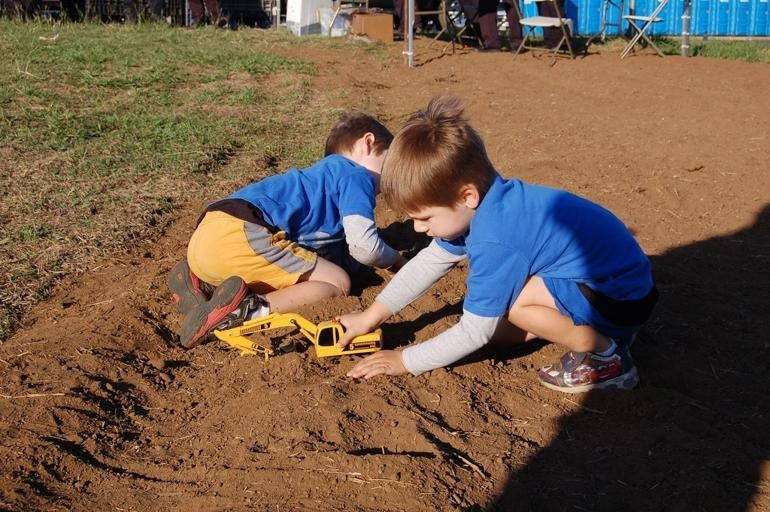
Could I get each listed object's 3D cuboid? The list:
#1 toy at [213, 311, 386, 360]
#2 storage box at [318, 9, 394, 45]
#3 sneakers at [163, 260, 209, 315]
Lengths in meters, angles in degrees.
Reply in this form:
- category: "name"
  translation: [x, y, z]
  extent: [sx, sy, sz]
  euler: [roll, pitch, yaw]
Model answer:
- category: "toy"
  translation: [-0.565, 0.520, 4.543]
  extent: [0.968, 0.279, 0.189]
  euler: [-5, 11, 9]
- category: "storage box"
  translation: [-0.518, -4.300, 13.247]
  extent: [0.676, 0.478, 2.067]
  euler: [-11, 24, -25]
- category: "sneakers"
  translation: [-1.409, 0.215, 4.972]
  extent: [0.232, 0.183, 0.487]
  euler: [25, 34, -47]
